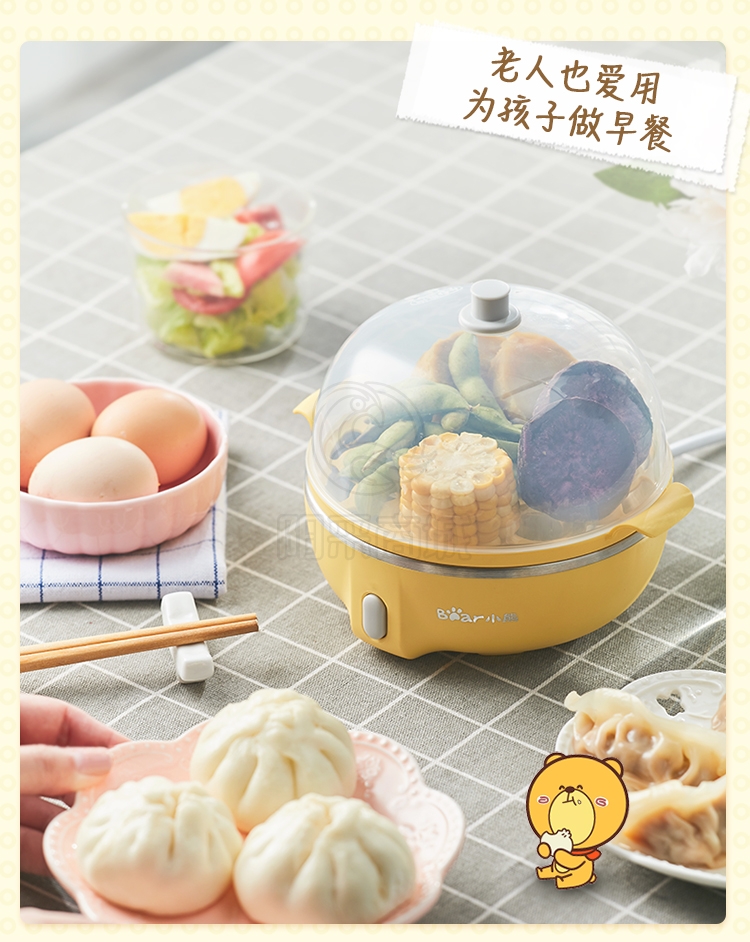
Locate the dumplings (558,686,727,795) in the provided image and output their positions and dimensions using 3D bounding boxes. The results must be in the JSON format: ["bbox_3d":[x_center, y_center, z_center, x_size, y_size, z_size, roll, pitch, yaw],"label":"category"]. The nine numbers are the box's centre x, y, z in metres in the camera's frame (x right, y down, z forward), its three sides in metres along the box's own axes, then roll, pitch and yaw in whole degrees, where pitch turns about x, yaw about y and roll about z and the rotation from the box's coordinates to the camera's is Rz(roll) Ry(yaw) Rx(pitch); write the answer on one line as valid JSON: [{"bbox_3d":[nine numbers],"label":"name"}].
[{"bbox_3d":[0.257,0.255,0.924,0.127,0.052,0.141,-14,30,-26],"label":"dumplings"}]

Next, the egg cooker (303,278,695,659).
[{"bbox_3d":[0.134,0.026,1.200,0.581,0.360,0.430,12,40,24],"label":"egg cooker"}]

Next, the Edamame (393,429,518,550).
[{"bbox_3d":[0.084,0.018,0.989,0.116,0.084,0.103,0,28,-1],"label":"Edamame"}]

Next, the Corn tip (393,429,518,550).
[{"bbox_3d":[0.084,0.018,0.989,0.116,0.084,0.103,0,28,-1],"label":"Corn tip"}]
